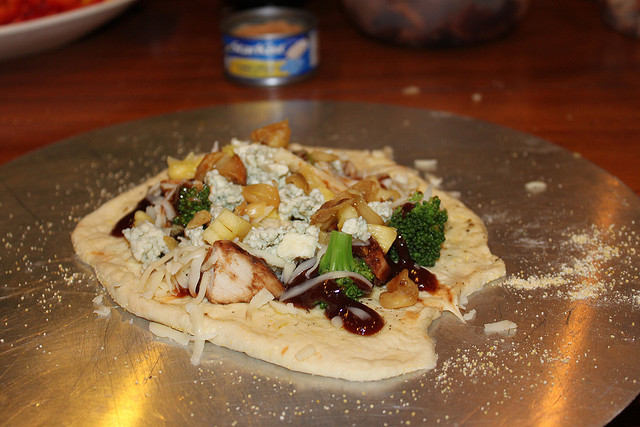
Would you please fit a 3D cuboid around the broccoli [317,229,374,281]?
[{"bbox_3d":[0.119,0.155,3.282,0.330,0.221,0.212,2,103,-2],"label":"broccoli"}]

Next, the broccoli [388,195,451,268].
[{"bbox_3d":[0.551,0.089,3.506,0.342,0.184,0.406,27,64,-10],"label":"broccoli"}]
